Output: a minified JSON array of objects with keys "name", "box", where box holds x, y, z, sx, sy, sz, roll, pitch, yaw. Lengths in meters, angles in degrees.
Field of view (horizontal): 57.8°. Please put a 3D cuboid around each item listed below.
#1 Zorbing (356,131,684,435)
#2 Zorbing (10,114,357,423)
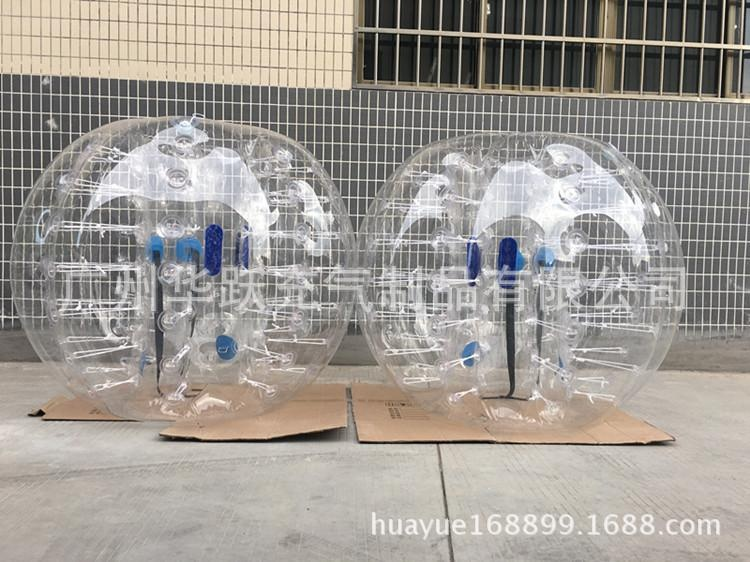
[{"name":"Zorbing","box":[0.731,0.002,3.229,1.305,1.413,1.274,2,4,19]},{"name":"Zorbing","box":[-1.091,-0.109,3.167,1.272,1.244,0.968,-1,7,-39]}]
